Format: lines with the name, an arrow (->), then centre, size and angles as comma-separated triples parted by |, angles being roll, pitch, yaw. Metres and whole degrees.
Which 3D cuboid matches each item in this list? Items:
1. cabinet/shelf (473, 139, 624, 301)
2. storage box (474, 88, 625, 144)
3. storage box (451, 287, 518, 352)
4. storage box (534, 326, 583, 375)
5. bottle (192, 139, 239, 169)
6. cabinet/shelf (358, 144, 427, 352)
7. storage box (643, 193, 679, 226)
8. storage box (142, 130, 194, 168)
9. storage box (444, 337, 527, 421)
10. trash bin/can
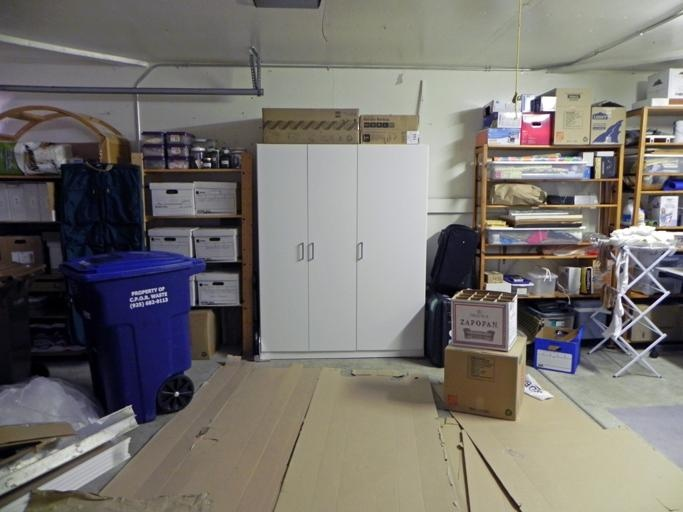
cabinet/shelf -> 2.110, -0.400, 5.233 | 1.736, 2.037, 0.614 | 0, 0, -1
storage box -> 2.133, -1.386, 5.174 | 1.389, 0.566, 0.250 | -2, 9, 2
storage box -> 1.174, 0.501, 4.202 | 0.454, 0.356, 0.474 | 1, 5, 24
storage box -> 2.040, 0.871, 4.868 | 0.415, 0.442, 0.442 | 1, -1, 28
bottle -> -1.294, -1.028, 5.259 | 0.465, 0.291, 0.311 | -1, 7, -13
cabinet/shelf -> 0.565, 0.162, 5.440 | 0.676, 2.044, 0.797 | 3, 14, 16
storage box -> 3.354, -0.477, 5.339 | 0.159, 0.272, 0.277 | -4, 36, 0
storage box -> -1.744, -1.056, 5.194 | 0.391, 0.288, 0.382 | 0, 1, -9
storage box -> 1.224, 0.979, 4.246 | 0.644, 0.481, 0.666 | 2, 5, 39
trash bin/can -> -1.698, 0.643, 4.292 | 1.040, 1.316, 0.711 | -5, 9, -38
